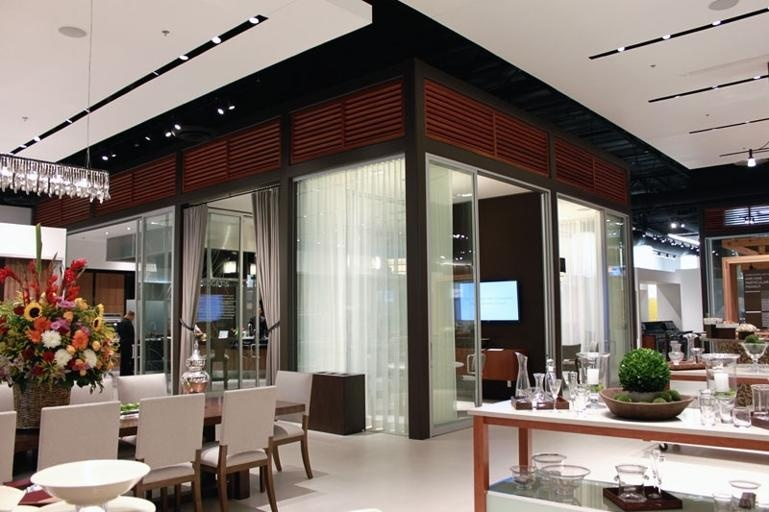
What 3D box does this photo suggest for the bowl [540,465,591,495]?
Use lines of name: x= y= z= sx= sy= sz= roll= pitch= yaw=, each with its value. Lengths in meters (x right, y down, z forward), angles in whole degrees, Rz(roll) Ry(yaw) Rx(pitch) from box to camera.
bowl: x=1.281 y=1.572 z=4.050 sx=0.235 sy=0.098 sz=0.235 roll=0 pitch=-9 yaw=0

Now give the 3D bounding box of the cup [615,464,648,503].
cup: x=1.710 y=1.566 z=3.902 sx=0.204 sy=0.194 sz=0.190 roll=1 pitch=0 yaw=0

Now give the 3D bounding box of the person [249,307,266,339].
person: x=-2.587 y=1.381 z=11.502 sx=0.306 sy=0.593 sz=1.083 roll=0 pitch=-2 yaw=-9

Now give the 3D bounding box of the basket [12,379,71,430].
basket: x=-2.825 y=1.210 z=4.783 sx=0.448 sy=0.318 sz=0.381 roll=10 pitch=-10 yaw=-38

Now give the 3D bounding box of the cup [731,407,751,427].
cup: x=2.340 y=1.051 z=3.680 sx=0.091 sy=0.122 sz=0.136 roll=4 pitch=-7 yaw=-35

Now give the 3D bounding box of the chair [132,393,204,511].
chair: x=-1.843 y=1.705 z=4.845 sx=0.572 sy=1.069 sz=0.447 roll=1 pitch=-2 yaw=-27

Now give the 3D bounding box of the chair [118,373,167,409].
chair: x=-2.476 y=1.379 z=5.736 sx=0.331 sy=0.469 sz=0.361 roll=10 pitch=-13 yaw=-35

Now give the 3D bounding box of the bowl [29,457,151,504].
bowl: x=-1.451 y=1.145 z=2.787 sx=0.531 sy=0.191 sz=0.309 roll=0 pitch=-2 yaw=-1

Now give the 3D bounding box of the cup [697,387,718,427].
cup: x=2.177 y=1.010 z=3.767 sx=0.107 sy=0.213 sz=0.130 roll=-2 pitch=-2 yaw=32

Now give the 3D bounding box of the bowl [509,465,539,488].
bowl: x=1.054 y=1.609 z=4.176 sx=0.155 sy=0.117 sz=0.160 roll=0 pitch=-4 yaw=0

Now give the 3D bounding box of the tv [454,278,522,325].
tv: x=1.897 y=0.841 z=10.404 sx=1.295 sy=0.805 sz=0.063 roll=-4 pitch=-5 yaw=29

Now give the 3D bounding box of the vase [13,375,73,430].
vase: x=-2.825 y=1.213 z=4.710 sx=0.449 sy=0.322 sz=0.394 roll=2 pitch=-8 yaw=-9
